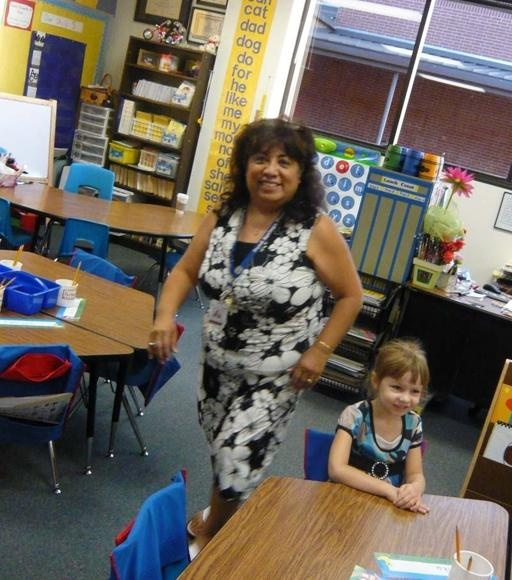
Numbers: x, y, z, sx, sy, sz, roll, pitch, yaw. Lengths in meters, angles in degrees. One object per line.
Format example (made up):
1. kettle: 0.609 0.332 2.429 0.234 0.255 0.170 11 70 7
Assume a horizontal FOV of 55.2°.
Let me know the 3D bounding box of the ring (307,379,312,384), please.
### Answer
1. ring: 0.155 0.262 1.426 0.015 0.006 0.018 4 -8 6

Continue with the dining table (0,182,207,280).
1. dining table: -1.292 -0.653 4.153 2.034 0.430 0.886 15 30 10

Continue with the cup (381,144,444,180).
1. cup: 1.173 -0.942 3.713 0.402 0.166 0.268 15 16 24

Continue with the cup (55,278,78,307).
1. cup: -0.863 0.008 2.311 0.128 0.115 0.125 10 4 -1

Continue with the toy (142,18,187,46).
1. toy: -1.086 -3.189 6.149 0.611 0.326 0.370 12 25 4

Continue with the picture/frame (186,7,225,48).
1. picture/frame: -0.642 -3.235 6.080 0.459 0.409 0.042 20 15 21

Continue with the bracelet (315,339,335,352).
1. bracelet: 0.206 0.171 1.448 0.038 0.050 0.024 0 48 33

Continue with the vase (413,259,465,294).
1. vase: 1.409 -0.105 3.845 0.265 0.202 0.360 3 5 -12

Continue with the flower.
1. flower: 1.412 -0.527 3.670 0.309 0.702 0.297 26 21 18

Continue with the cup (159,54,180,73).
1. cup: -1.091 -2.794 6.104 0.227 0.233 0.159 11 15 -16
